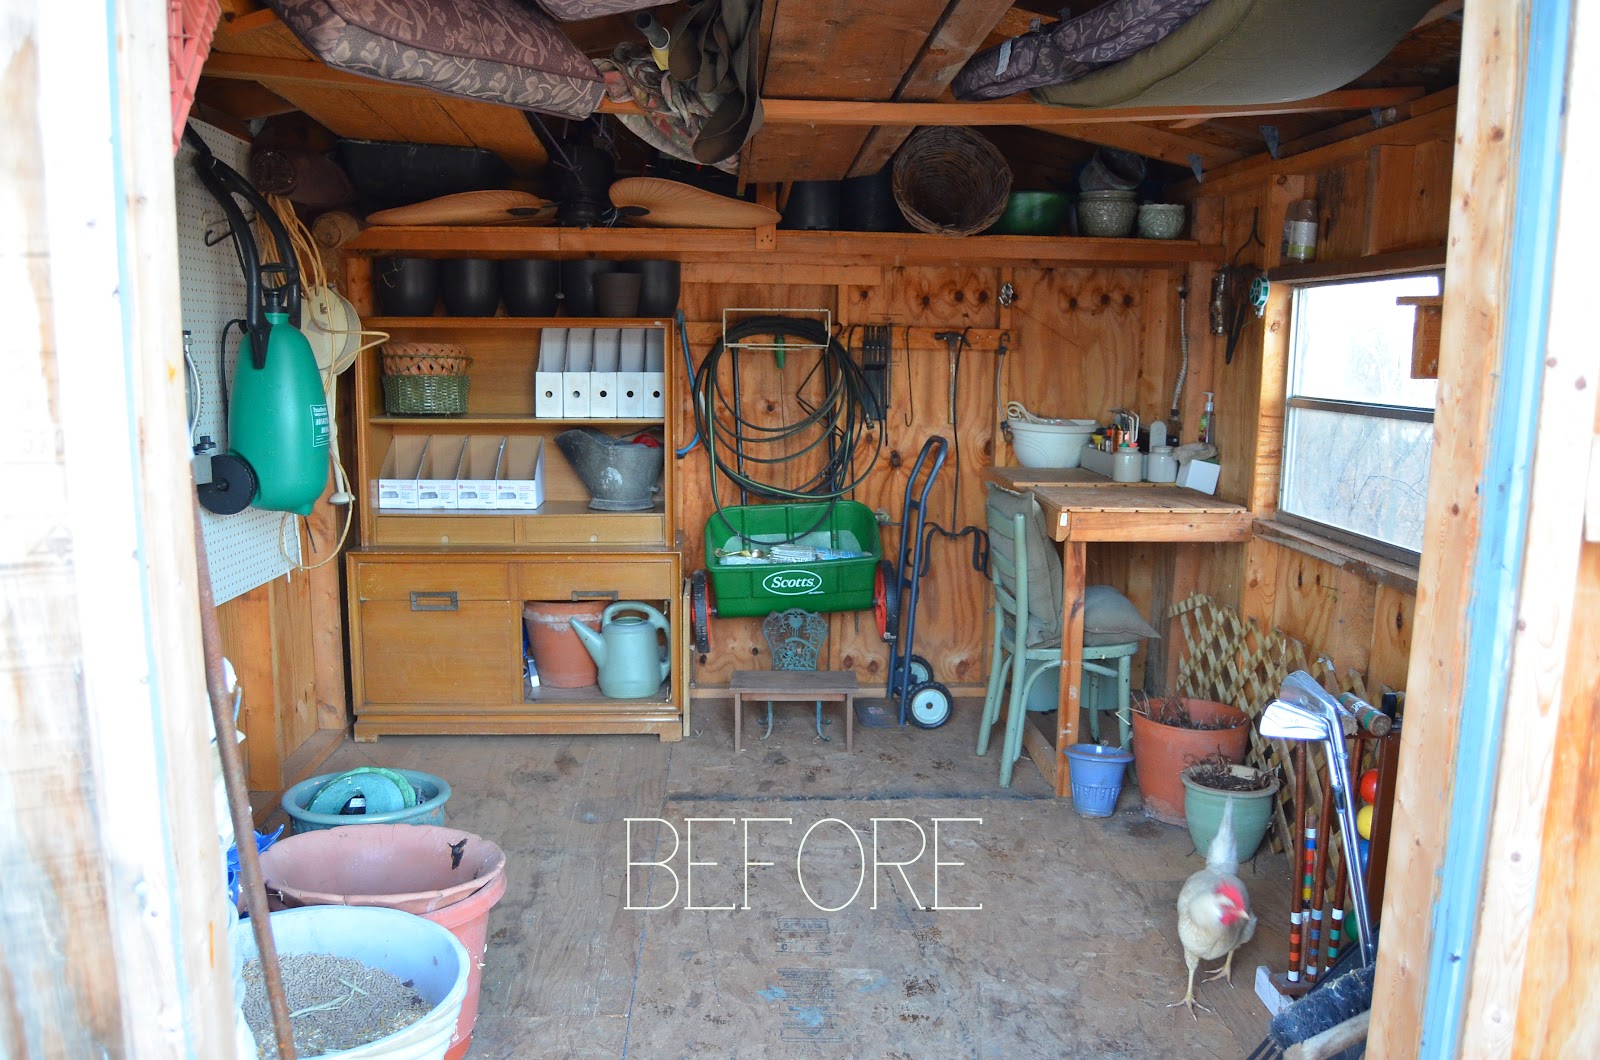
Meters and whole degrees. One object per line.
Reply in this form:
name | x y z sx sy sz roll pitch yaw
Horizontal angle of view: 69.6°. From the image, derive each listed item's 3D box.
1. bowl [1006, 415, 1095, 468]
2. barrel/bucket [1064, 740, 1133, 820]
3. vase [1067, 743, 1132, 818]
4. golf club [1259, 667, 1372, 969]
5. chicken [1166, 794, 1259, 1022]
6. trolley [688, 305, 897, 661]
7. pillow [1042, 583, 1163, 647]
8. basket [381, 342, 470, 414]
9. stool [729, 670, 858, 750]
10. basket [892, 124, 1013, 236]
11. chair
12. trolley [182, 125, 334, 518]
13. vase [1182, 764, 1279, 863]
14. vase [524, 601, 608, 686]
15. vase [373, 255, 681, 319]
bowl | 1.218 -0.436 5.700 0.329 0.158 0.308 1 3 0
barrel/bucket | 1.191 1.009 4.701 0.310 0.242 0.285 2 2 0
vase | 1.222 1.019 4.751 0.240 0.279 0.237 2 10 13
golf club | 1.517 0.846 3.375 0.332 0.834 0.375 4 11 24
chicken | 1.311 1.159 3.632 0.213 0.581 0.389 4 11 21
trolley | -0.088 -0.279 5.715 1.032 1.610 0.577 0 10 0
pillow | 1.254 0.369 4.880 0.339 0.088 0.311 0 22 3
basket | -1.793 -0.696 5.464 0.390 0.268 0.366 1 2 10
stool | -0.035 0.841 5.453 0.584 0.321 0.348 -1 10 -4
basket | 0.689 -1.624 5.371 0.534 0.473 0.222 0 10 -1
chair | 1.176 0.423 5.179 0.744 1.297 0.735 -2 11 -6
trolley | -2.091 -0.775 4.445 0.444 1.488 0.653 -4 11 -18
vase | 1.551 1.021 4.163 0.396 0.303 0.377 1 14 0
vase | -1.164 0.560 5.574 0.430 0.399 0.426 2 4 20
vase | -1.291 -1.142 5.410 1.356 0.295 0.400 2 9 -6
